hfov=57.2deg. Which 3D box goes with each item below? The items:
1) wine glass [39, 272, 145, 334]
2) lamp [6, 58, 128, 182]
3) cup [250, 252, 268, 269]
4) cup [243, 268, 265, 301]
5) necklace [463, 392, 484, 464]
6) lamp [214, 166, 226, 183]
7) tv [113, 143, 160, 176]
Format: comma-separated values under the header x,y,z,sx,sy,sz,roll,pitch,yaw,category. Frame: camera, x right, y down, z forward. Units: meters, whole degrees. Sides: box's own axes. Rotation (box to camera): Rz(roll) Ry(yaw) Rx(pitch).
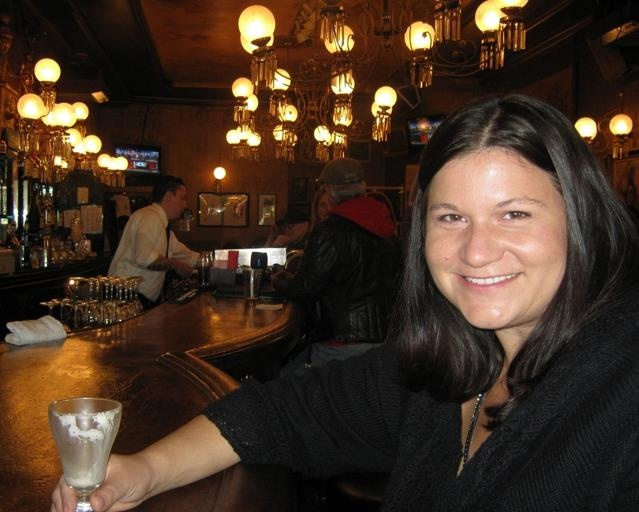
x,y,z,sx,sy,sz,roll,pitch,yaw,category
-1.133,0.217,3.045,0.304,0.133,0.401,2,2,9,wine glass
-2.881,-1.585,6.702,0.995,1.464,2.029,0,2,-3,lamp
-0.487,0.036,4.739,0.131,0.131,0.130,2,4,0,cup
-0.434,0.179,3.768,0.175,0.241,0.199,4,-1,-11,cup
0.401,0.451,1.521,0.020,0.179,0.026,17,-27,25,necklace
-1.792,-1.506,10.793,0.261,0.307,0.258,-5,20,-22,lamp
-3.146,-1.647,10.038,0.914,0.645,0.124,0,5,-14,tv
